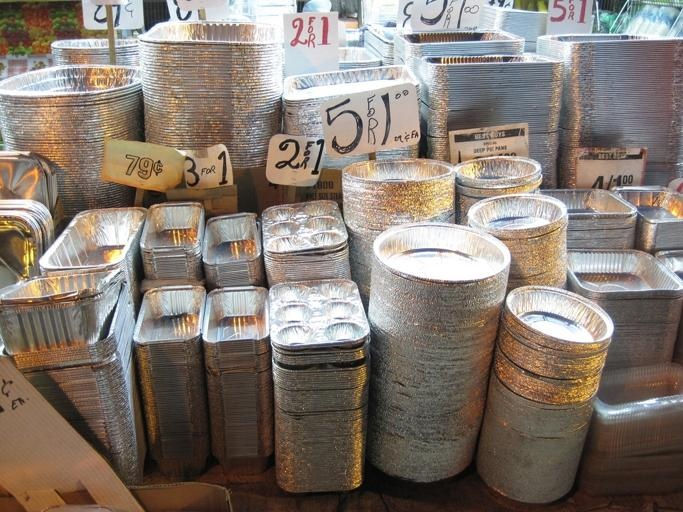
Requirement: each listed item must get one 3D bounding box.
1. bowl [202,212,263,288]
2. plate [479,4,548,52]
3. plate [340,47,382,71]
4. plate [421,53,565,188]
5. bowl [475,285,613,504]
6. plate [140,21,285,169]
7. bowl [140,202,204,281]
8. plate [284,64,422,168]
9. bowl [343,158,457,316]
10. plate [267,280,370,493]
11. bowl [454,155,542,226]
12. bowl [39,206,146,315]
[{"bbox_3d":[-0.370,-0.018,2.126,0.173,0.103,0.284,-5,33,-7],"label":"bowl"},{"bbox_3d":[0.840,-1.115,3.087,0.247,0.159,0.370,-2,36,-5],"label":"plate"},{"bbox_3d":[0.089,-0.922,2.959,0.173,0.087,0.260,0,30,-2],"label":"plate"},{"bbox_3d":[0.533,-0.544,2.465,0.524,0.533,0.404,-2,22,1],"label":"plate"},{"bbox_3d":[0.605,0.422,1.911,0.352,0.638,0.239,3,23,14],"label":"bowl"},{"bbox_3d":[-0.468,-0.667,2.483,0.436,0.458,0.599,0,19,-3],"label":"plate"},{"bbox_3d":[-0.566,-0.059,2.121,0.172,0.110,0.303,0,33,-7],"label":"bowl"},{"bbox_3d":[0.036,-0.501,2.338,0.497,0.332,0.434,-4,22,-3],"label":"plate"},{"bbox_3d":[0.137,-0.111,2.239,0.461,0.501,0.460,-3,19,1],"label":"bowl"},{"bbox_3d":[-0.059,0.401,1.954,0.300,0.583,0.305,-3,22,1],"label":"plate"},{"bbox_3d":[0.529,-0.260,2.143,0.258,0.187,0.261,-4,19,2],"label":"bowl"},{"bbox_3d":[-0.803,-0.030,2.050,0.233,0.146,0.406,-3,30,-2],"label":"bowl"}]
